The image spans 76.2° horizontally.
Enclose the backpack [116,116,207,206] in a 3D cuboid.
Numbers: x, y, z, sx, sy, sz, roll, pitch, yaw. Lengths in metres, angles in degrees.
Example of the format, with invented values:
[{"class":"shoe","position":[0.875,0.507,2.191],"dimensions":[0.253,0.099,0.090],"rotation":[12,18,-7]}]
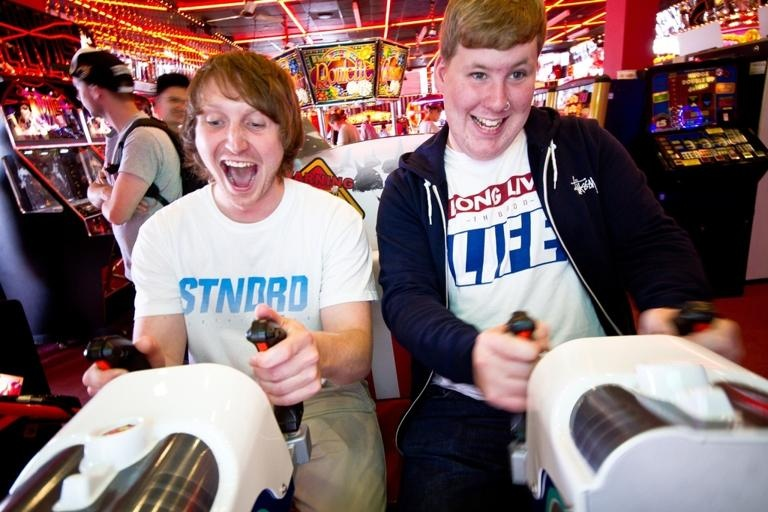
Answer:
[{"class":"backpack","position":[-1.486,-0.577,3.029],"dimensions":[0.486,0.511,0.337],"rotation":[-16,1,-8]}]

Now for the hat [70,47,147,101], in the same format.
[{"class":"hat","position":[-1.771,-1.244,3.157],"dimensions":[0.423,0.316,0.303],"rotation":[2,10,-22]}]

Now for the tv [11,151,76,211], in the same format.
[{"class":"tv","position":[-2.719,-0.568,3.807],"dimensions":[0.320,0.492,0.273],"rotation":[-24,24,-40]}]
